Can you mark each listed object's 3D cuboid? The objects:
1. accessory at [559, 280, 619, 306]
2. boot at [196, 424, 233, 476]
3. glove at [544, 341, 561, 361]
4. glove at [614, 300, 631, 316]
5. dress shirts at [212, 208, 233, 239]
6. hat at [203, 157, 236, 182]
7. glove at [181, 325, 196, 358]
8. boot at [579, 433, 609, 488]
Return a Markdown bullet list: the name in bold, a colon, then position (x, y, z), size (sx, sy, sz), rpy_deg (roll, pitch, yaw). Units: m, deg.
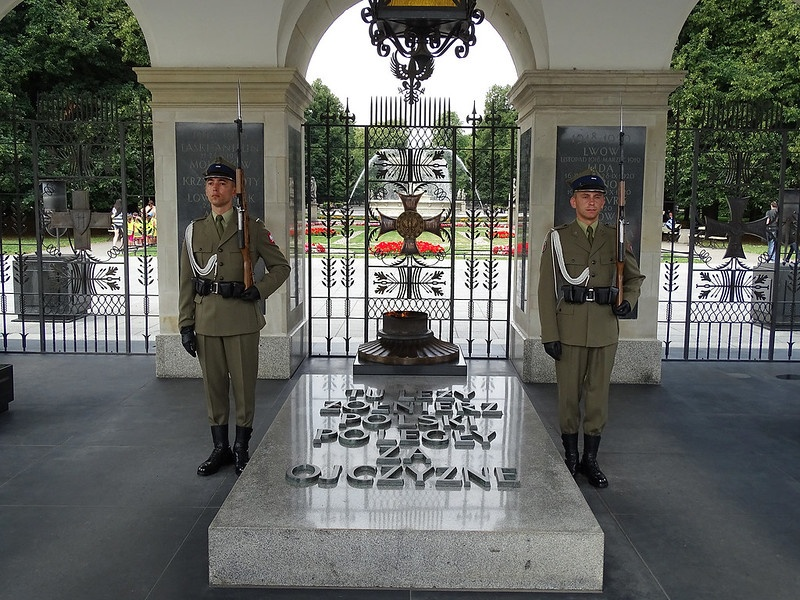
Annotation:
- **accessory**: position (1.534, -0.039, 5.421), size (0.463, 0.179, 0.097), rpy_deg (1, 14, 12)
- **boot**: position (-1.589, 1.276, 5.685), size (0.155, 0.392, 0.395), rpy_deg (5, 9, 23)
- **glove**: position (1.243, 0.412, 5.477), size (0.111, 0.169, 0.056), rpy_deg (5, -9, -20)
- **glove**: position (1.792, 0.076, 5.389), size (0.131, 0.137, 0.175), rpy_deg (3, 15, 19)
- **dress shirts**: position (-1.477, -0.628, 5.462), size (0.155, 0.233, 0.081), rpy_deg (1, -8, 1)
- **hat**: position (-1.466, -1.054, 5.411), size (0.247, 0.192, 0.169), rpy_deg (-6, 14, -17)
- **glove**: position (-1.752, 0.356, 5.535), size (0.110, 0.291, 0.246), rpy_deg (-6, 15, -20)
- **boot**: position (1.628, 1.360, 5.581), size (0.168, 0.431, 0.417), rpy_deg (3, -2, -7)
